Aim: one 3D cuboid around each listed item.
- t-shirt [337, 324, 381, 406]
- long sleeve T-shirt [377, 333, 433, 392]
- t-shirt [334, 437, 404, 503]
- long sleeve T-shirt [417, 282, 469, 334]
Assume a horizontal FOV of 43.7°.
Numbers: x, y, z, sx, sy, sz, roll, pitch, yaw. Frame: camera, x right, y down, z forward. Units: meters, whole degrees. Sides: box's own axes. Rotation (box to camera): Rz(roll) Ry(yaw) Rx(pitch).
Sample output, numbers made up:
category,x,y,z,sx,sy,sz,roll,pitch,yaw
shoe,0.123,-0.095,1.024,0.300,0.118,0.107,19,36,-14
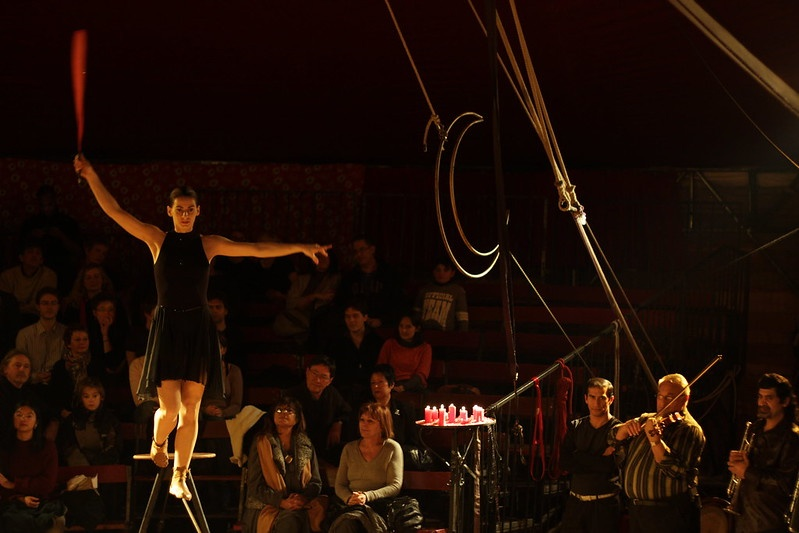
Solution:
category,x,y,z,sx,sy,sz,roll,pitch,yaw
t-shirt,-0.487,1.083,10.702,0.521,0.699,0.252,-5,-15,4
long sleeve T-shirt,0.038,1.028,10.752,0.591,0.574,0.523,7,12,16
t-shirt,-0.306,1.952,9.487,0.680,0.639,0.402,2,-12,26
long sleeve T-shirt,0.490,0.440,11.680,0.792,0.686,0.299,6,-3,30
